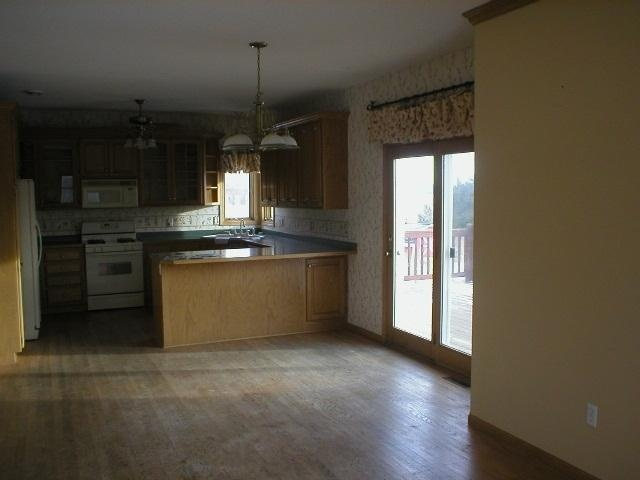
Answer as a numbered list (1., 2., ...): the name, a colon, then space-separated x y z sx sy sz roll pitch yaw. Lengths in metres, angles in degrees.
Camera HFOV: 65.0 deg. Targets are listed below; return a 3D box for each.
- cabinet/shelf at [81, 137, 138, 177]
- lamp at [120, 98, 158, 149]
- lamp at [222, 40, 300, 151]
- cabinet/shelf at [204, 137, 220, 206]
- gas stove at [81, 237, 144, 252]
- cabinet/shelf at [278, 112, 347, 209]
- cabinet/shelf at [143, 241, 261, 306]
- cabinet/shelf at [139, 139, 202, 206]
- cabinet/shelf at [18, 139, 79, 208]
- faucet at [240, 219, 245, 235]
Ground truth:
1. cabinet/shelf: -3.250 -1.210 7.806 0.796 0.639 0.316 -3 -11 -16
2. lamp: -2.665 -1.679 7.479 0.655 0.869 0.680 -4 8 -21
3. lamp: -0.534 -1.314 4.948 0.941 1.177 1.016 1 8 10
4. cabinet/shelf: -1.761 -1.121 8.205 0.303 1.089 0.287 -3 13 -25
5. gas stove: -3.126 0.079 7.658 0.806 0.180 0.375 0 5 -21
6. cabinet/shelf: -0.128 -1.065 6.952 0.411 1.207 1.170 -5 6 -34
7. cabinet/shelf: -1.449 0.435 6.159 0.913 0.505 0.274 -3 3 -30
8. cabinet/shelf: -2.485 -1.122 8.202 1.080 1.086 0.416 -6 11 -35
9. cabinet/shelf: -4.279 -1.015 8.021 0.922 1.435 0.748 -1 5 -15
10. faucet: -1.349 -0.234 8.729 0.080 0.254 0.272 1 4 -9
